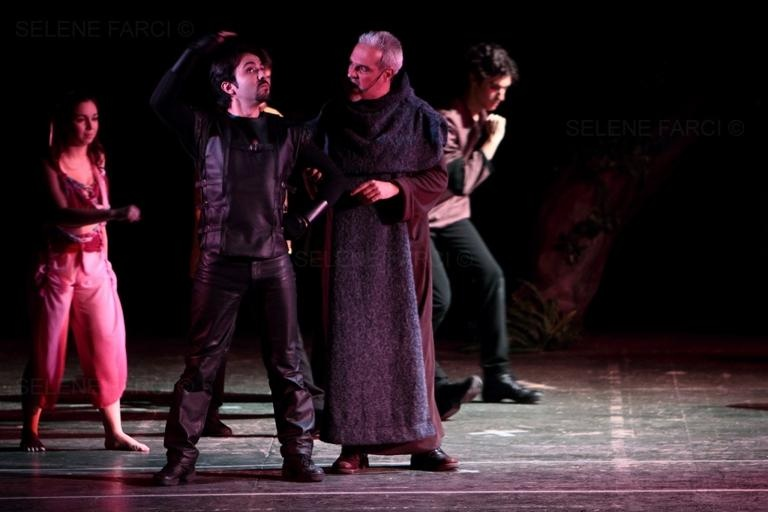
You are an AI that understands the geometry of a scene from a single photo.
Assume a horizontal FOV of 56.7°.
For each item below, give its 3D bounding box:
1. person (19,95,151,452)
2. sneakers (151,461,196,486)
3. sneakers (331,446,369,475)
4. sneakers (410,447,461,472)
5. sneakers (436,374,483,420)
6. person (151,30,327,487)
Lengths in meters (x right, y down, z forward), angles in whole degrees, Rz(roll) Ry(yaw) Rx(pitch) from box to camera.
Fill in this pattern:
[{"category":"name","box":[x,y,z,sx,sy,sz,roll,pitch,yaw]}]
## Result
[{"category":"person","box":[-1.818,0.207,4.384,0.678,2.337,0.841,1,16,-25]},{"category":"sneakers","box":[-1.026,1.087,3.583,0.095,0.086,0.214,14,2,39]},{"category":"sneakers","box":[-0.196,1.113,3.875,0.099,0.099,0.256,-5,-15,25]},{"category":"sneakers","box":[0.257,1.130,3.974,0.299,0.104,0.110,-4,-5,23]},{"category":"sneakers","box":[0.519,1.030,5.135,0.130,0.372,0.265,43,5,-26]},{"category":"person","box":[-0.700,0.027,3.571,1.000,2.239,0.796,12,15,14]}]
